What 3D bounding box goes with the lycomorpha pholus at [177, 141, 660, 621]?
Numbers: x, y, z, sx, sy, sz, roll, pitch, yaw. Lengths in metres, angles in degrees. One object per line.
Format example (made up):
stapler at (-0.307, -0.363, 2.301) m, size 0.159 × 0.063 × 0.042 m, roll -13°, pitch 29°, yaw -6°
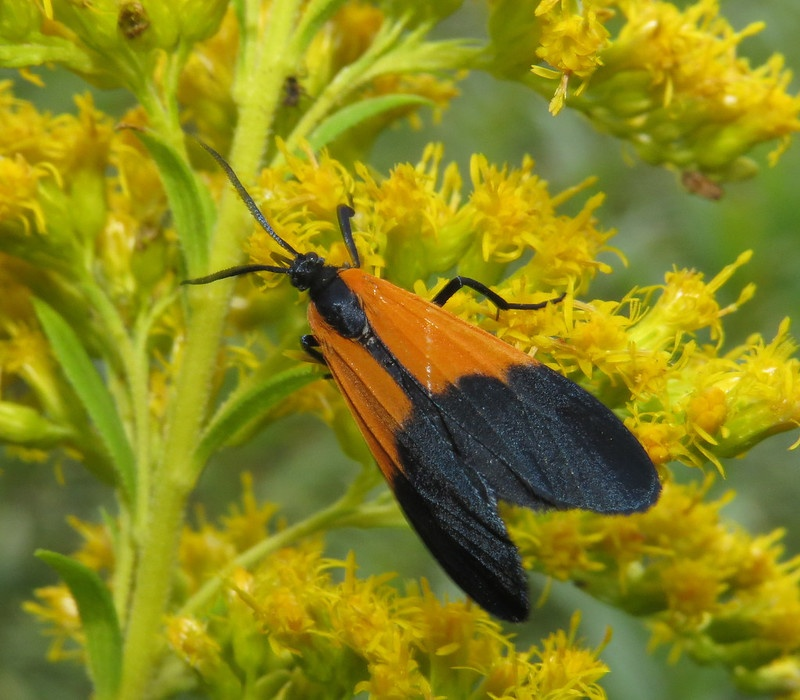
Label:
lycomorpha pholus at (-0.073, 0.036, 2.288) m, size 0.319 × 0.717 × 1.243 m, roll -24°, pitch 65°, yaw -36°
